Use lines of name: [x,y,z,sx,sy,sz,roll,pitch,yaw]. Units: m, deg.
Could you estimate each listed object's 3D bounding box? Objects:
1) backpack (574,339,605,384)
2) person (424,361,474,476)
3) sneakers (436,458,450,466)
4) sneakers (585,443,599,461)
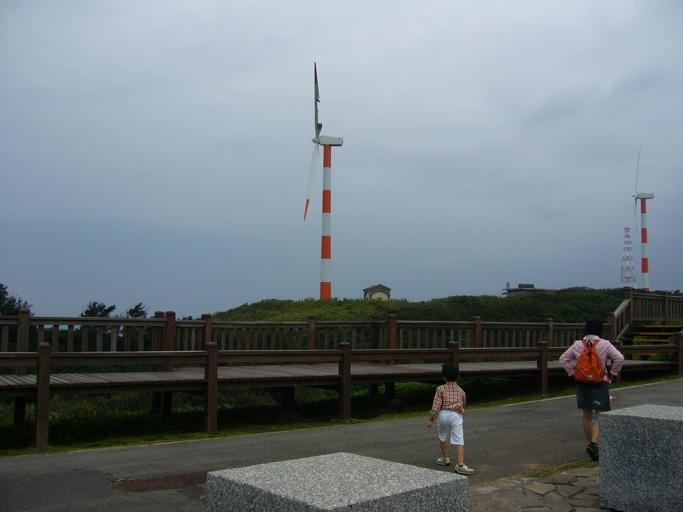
backpack: [3.666,1.560,9.231,0.396,0.611,0.356,-1,-1,35]
person: [1.627,2.368,9.411,0.617,1.471,1.813,-2,-6,10]
sneakers: [1.471,2.982,9.114,0.092,0.095,0.205,1,0,-44]
sneakers: [3.676,2.847,9.113,0.151,0.180,0.417,-2,-38,27]
